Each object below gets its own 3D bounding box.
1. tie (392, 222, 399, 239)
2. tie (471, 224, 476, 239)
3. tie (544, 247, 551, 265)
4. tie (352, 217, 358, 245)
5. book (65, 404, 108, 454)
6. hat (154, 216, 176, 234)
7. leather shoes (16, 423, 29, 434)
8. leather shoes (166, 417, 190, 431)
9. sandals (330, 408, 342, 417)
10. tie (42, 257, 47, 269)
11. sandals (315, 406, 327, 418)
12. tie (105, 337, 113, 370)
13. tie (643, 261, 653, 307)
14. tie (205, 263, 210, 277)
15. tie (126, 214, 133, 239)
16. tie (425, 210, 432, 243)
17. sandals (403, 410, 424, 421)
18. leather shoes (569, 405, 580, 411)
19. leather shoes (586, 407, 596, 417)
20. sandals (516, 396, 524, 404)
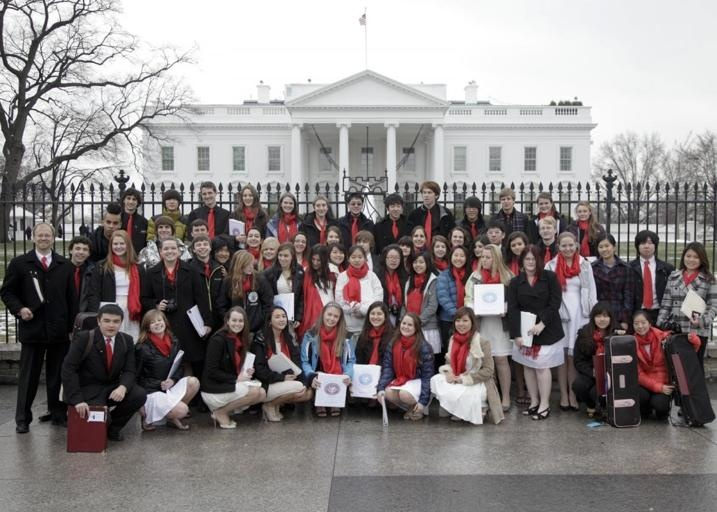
[{"bbox_3d":[0.609,-0.430,12.403,0.108,0.280,0.106,-1,10,-8],"label":"tie"},{"bbox_3d":[1.890,-0.397,12.115,0.105,0.200,0.279,1,11,8],"label":"tie"},{"bbox_3d":[2.919,-0.001,11.413,0.127,0.234,0.324,3,12,15],"label":"tie"},{"bbox_3d":[-0.072,-0.408,12.453,0.106,0.408,0.224,0,10,1],"label":"tie"},{"bbox_3d":[-3.355,2.148,9.128,0.512,0.628,0.206,0,-6,-3],"label":"book"},{"bbox_3d":[-2.879,-0.452,10.975,0.218,0.257,0.309,0,9,-12],"label":"hat"},{"bbox_3d":[-4.460,2.286,9.819,0.168,0.121,0.171,-7,13,-31],"label":"leather shoes"},{"bbox_3d":[-2.426,2.209,9.890,0.319,0.208,0.174,-1,11,-4],"label":"leather shoes"},{"bbox_3d":[-0.320,2.195,10.411,0.162,0.091,0.231,-1,12,-3],"label":"sandals"},{"bbox_3d":[-4.315,0.086,10.141,0.048,0.194,0.053,-4,-28,-30],"label":"tie"},{"bbox_3d":[-0.521,2.188,10.359,0.153,0.101,0.148,0,11,2],"label":"sandals"},{"bbox_3d":[-3.192,1.242,9.460,0.093,0.364,0.094,-3,11,-18],"label":"tie"},{"bbox_3d":[4.313,0.449,11.019,0.154,0.663,0.188,3,11,19],"label":"tie"},{"bbox_3d":[-2.190,0.197,10.667,0.076,0.150,0.045,4,-16,-20],"label":"tie"},{"bbox_3d":[-3.590,-0.455,11.584,0.090,0.359,0.193,-1,10,-7],"label":"tie"},{"bbox_3d":[1.164,-0.482,12.426,0.110,0.545,0.193,1,10,4],"label":"tie"},{"bbox_3d":[0.756,2.210,10.253,0.200,0.086,0.124,5,0,-5],"label":"sandals"},{"bbox_3d":[3.080,2.190,10.610,0.143,0.054,0.119,2,12,8],"label":"leather shoes"},{"bbox_3d":[3.263,2.194,10.376,0.109,0.155,0.096,-1,-6,30],"label":"leather shoes"},{"bbox_3d":[2.384,2.148,10.950,0.112,0.065,0.042,0,7,-39],"label":"sandals"}]
